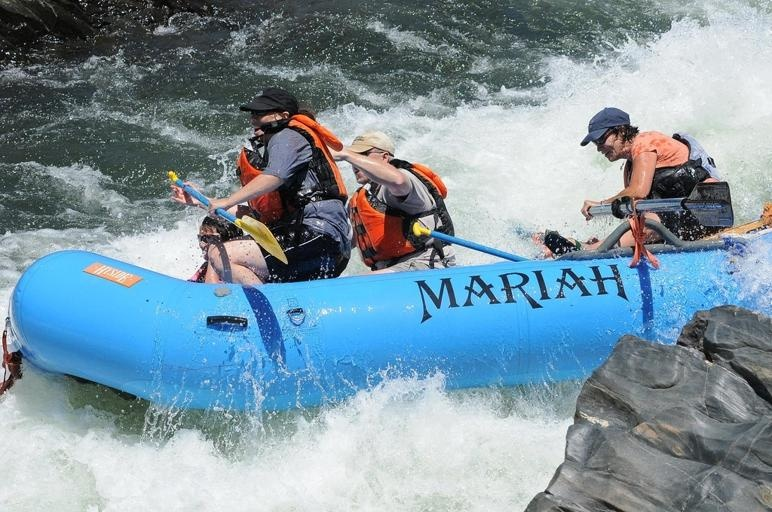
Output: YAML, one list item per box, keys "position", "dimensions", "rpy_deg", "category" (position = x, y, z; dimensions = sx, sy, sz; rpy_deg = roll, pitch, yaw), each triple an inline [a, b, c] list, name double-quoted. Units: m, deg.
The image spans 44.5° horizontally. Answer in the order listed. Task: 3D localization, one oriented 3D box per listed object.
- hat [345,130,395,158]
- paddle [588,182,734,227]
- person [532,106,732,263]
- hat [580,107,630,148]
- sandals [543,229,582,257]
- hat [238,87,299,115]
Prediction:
- position: [-0.123, -1.039, 8.776]
  dimensions: [0.368, 0.174, 0.244]
  rpy_deg: [2, -3, -16]
  category: "hat"
- position: [2.346, -0.426, 8.148]
  dimensions: [1.258, 0.428, 0.386]
  rpy_deg: [-2, -28, 12]
  category: "paddle"
- position: [2.268, -0.646, 9.018]
  dimensions: [1.828, 1.374, 0.808]
  rpy_deg: [-13, -1, 12]
  category: "person"
- position: [2.071, -1.249, 8.908]
  dimensions: [0.502, 0.279, 0.338]
  rpy_deg: [-27, 7, -2]
  category: "hat"
- position: [1.665, -0.100, 9.002]
  dimensions: [0.347, 0.145, 0.205]
  rpy_deg: [19, -15, -7]
  category: "sandals"
- position: [-1.028, -1.348, 8.335]
  dimensions: [0.398, 0.178, 0.268]
  rpy_deg: [0, 3, -10]
  category: "hat"
